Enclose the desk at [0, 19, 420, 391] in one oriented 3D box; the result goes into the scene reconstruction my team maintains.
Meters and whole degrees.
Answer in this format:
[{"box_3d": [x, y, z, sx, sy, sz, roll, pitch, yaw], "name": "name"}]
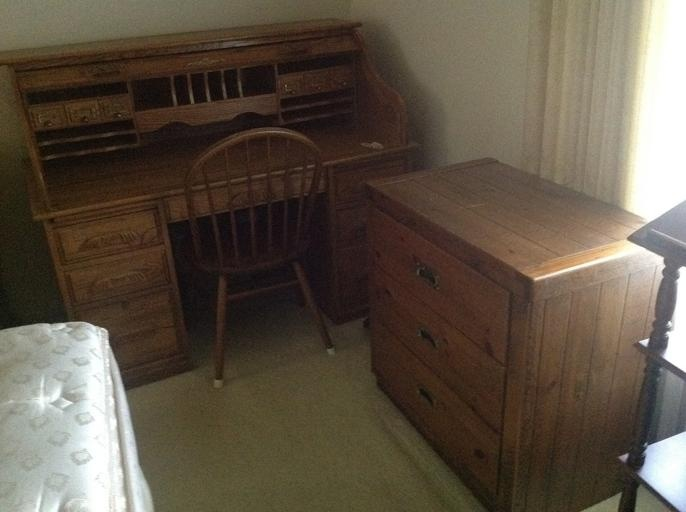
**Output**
[{"box_3d": [-0.583, -0.245, 2.306, 1.591, 1.236, 0.642, -12, 36, -19], "name": "desk"}]
